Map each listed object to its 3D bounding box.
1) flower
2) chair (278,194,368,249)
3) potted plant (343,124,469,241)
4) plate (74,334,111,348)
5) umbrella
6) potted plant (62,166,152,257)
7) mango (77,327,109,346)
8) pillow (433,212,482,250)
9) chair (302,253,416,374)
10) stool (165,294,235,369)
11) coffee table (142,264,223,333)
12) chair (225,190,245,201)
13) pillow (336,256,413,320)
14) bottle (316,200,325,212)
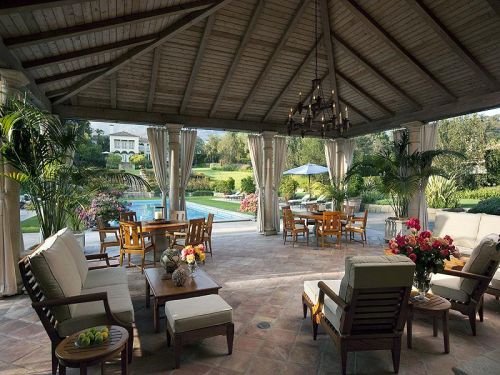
[{"bbox_3d":[2.065,0.862,3.997,0.851,0.873,0.852,8,0,-38],"label":"flower"},{"bbox_3d":[1.948,0.878,8.246,1.375,0.613,1.349,-1,3,-16],"label":"chair"},{"bbox_3d":[3.963,0.116,8.186,2.529,2.034,2.046,15,-13,-39],"label":"potted plant"},{"bbox_3d":[-1.473,1.373,2.997,0.325,0.108,0.130,-2,4,8],"label":"plate"},{"bbox_3d":[2.620,-0.179,15.793,2.298,1.637,2.429,0,0,-27],"label":"umbrella"},{"bbox_3d":[-3.779,0.484,9.194,1.487,1.818,1.823,-7,6,-16],"label":"potted plant"},{"bbox_3d":[-1.424,1.355,3.038,0.165,0.053,0.179,1,0,-8],"label":"mango"},{"bbox_3d":[3.408,0.711,5.340,0.307,0.385,0.543,21,-12,-34],"label":"pillow"},{"bbox_3d":[1.195,1.204,3.784,0.902,0.967,1.312,1,-3,-4],"label":"chair"},{"bbox_3d":[-0.633,1.593,3.806,0.836,0.543,0.818,-2,-1,-12],"label":"stool"},{"bbox_3d":[-0.848,1.213,4.149,0.697,0.458,0.933,-2,8,-24],"label":"coffee table"},{"bbox_3d":[-0.921,0.525,20.411,0.747,0.544,1.725,-4,4,-28],"label":"chair"},{"bbox_3d":[1.232,0.933,3.183,0.502,0.440,0.513,0,0,0],"label":"pillow"},{"bbox_3d":[2.111,0.552,9.783,0.209,0.217,0.205,-1,2,-24],"label":"bottle"}]
